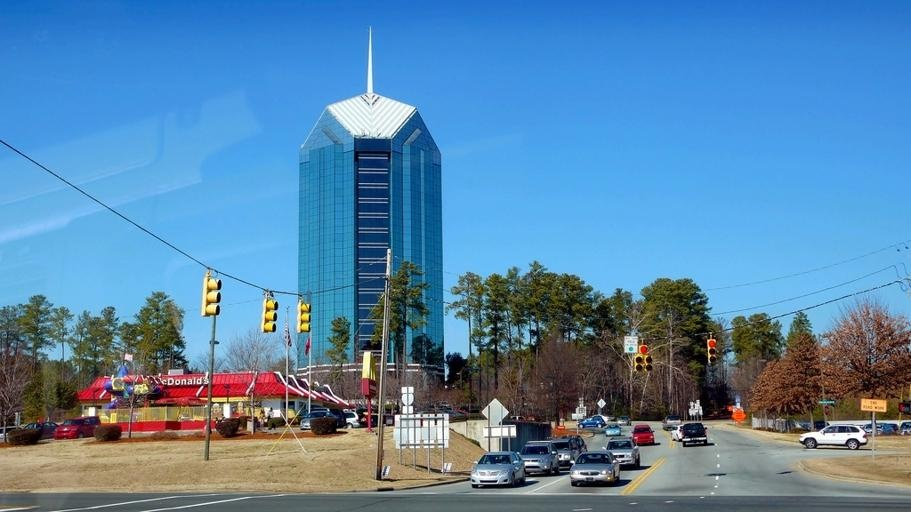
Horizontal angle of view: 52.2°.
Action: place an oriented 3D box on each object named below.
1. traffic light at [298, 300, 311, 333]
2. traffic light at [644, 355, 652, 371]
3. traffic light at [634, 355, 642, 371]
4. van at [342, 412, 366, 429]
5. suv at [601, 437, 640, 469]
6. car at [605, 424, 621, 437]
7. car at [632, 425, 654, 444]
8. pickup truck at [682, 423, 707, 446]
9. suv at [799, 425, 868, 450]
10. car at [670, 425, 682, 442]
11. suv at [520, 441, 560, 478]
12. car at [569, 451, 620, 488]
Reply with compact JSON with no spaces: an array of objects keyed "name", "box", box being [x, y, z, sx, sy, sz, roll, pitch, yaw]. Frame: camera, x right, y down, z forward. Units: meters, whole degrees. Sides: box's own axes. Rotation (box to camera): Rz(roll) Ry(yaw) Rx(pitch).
[{"name":"traffic light","box":[-13.434,4.952,82.594,0.971,2.856,0.890,4,-19,-18]},{"name":"traffic light","box":[18.976,10.252,92.052,0.401,1.488,1.041,-16,-22,35]},{"name":"traffic light","box":[17.936,10.248,91.967,1.107,1.400,0.569,4,-4,-32]},{"name":"van","box":[-12.527,20.551,119.002,1.843,2.181,4.374,-8,-19,18]},{"name":"suv","box":[17.130,20.081,96.344,3.571,2.726,7.490,-3,-14,11]},{"name":"car","box":[22.753,24.599,134.294,2.127,1.981,4.363,-4,-18,6]},{"name":"car","box":[23.788,22.291,118.773,2.184,2.536,3.699,-8,-19,18]},{"name":"pickup truck","box":[30.105,22.193,118.049,3.200,3.082,1.976,0,-18,-6]},{"name":"suv","box":[46.613,21.872,114.337,7.057,2.544,3.215,1,-7,19]},{"name":"car","box":[29.050,22.993,122.799,1.467,1.227,2.446,1,0,6]},{"name":"suv","box":[8.651,20.300,95.796,2.138,3.482,4.461,-18,-23,39]},{"name":"car","box":[13.078,19.754,88.438,4.393,3.112,1.840,-2,-18,-2]}]
